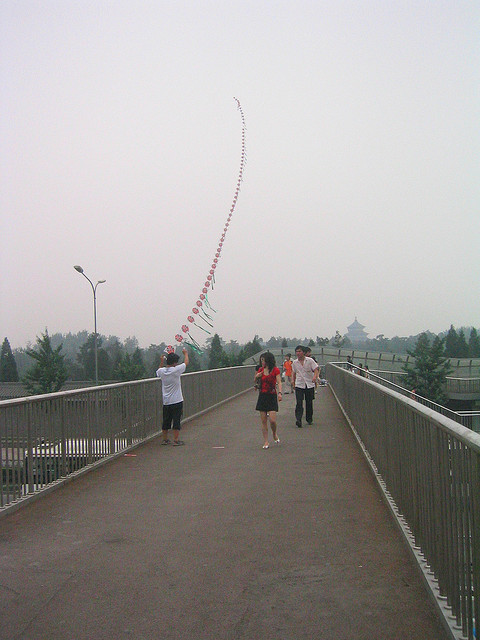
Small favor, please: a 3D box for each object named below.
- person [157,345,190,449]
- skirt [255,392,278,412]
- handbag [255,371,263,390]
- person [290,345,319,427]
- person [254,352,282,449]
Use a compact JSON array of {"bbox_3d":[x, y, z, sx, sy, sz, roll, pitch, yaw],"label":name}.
[{"bbox_3d":[-1.300,1.517,10.505,0.580,1.803,0.690,-1,-2,-10],"label":"person"},{"bbox_3d":[0.475,1.565,10.083,0.363,0.535,0.275,2,-21,2],"label":"skirt"},{"bbox_3d":[0.340,1.117,10.084,0.147,0.281,0.078,-1,-7,36],"label":"handbag"},{"bbox_3d":[1.624,1.634,13.590,0.594,1.944,1.749,-2,-3,5],"label":"person"},{"bbox_3d":[0.528,1.483,10.162,0.455,1.722,1.031,-2,-3,2],"label":"person"}]
